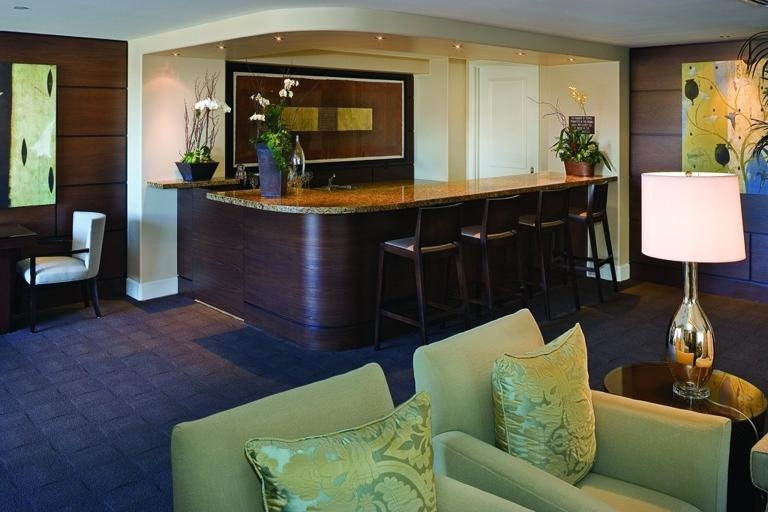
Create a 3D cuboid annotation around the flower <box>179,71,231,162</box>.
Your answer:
[{"bbox_3d":[-2.043,-1.585,6.133,0.575,1.039,0.629,-3,11,-16],"label":"flower"}]

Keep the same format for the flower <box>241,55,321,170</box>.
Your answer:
[{"bbox_3d":[-1.160,-1.252,5.334,0.362,0.876,0.452,15,9,12],"label":"flower"}]

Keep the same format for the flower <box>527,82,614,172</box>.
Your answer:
[{"bbox_3d":[2.361,-1.478,6.668,0.751,0.977,0.581,11,36,34],"label":"flower"}]

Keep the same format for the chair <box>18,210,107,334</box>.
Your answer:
[{"bbox_3d":[-3.409,0.067,6.137,1.150,1.509,1.186,0,9,-38],"label":"chair"}]

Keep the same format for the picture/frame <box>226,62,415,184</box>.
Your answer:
[{"bbox_3d":[-0.879,-1.707,6.809,1.988,1.048,0.086,-3,5,-33],"label":"picture/frame"}]

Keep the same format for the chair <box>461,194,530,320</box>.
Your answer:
[{"bbox_3d":[1.065,0.004,5.445,0.732,1.142,0.728,0,9,31],"label":"chair"}]
